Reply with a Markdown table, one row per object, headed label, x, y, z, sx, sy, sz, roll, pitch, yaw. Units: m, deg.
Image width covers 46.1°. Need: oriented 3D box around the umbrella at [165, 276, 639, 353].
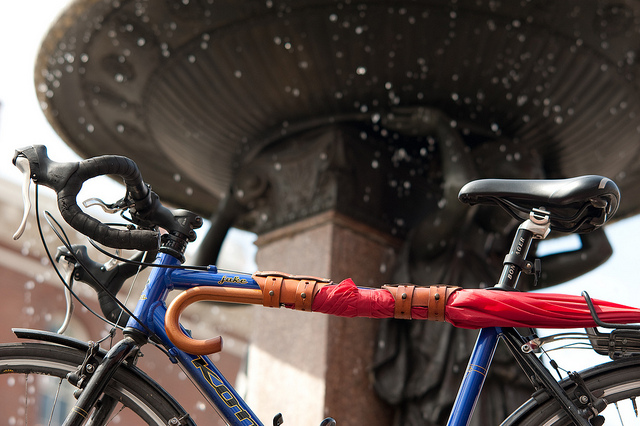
| label | x | y | z | sx | sy | sz | roll | pitch | yaw |
| --- | --- | --- | --- | --- | --- | --- | --- | --- | --- |
| umbrella | 0.344 | 0.472 | 3.482 | 1.392 | 0.304 | 0.638 | -1 | -11 | 2 |
